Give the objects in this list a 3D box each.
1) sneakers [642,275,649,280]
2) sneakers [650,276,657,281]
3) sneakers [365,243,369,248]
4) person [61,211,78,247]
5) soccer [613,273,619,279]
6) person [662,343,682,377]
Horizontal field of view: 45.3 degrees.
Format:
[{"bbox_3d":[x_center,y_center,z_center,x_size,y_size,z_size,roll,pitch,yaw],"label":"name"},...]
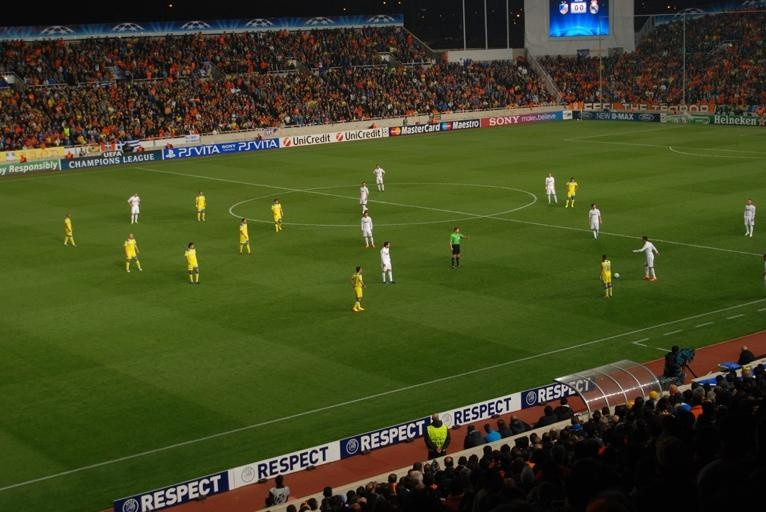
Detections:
[{"bbox_3d":[11.478,0.905,40.158,0.109,0.186,0.225,-18,33,-22],"label":"sneakers"},{"bbox_3d":[11.672,0.917,39.856,0.254,0.213,0.401,2,15,14],"label":"sneakers"},{"bbox_3d":[-0.780,-0.550,45.560,0.253,0.105,0.530,-4,15,-8],"label":"sneakers"},{"bbox_3d":[-16.805,-1.400,49.210,0.933,2.063,1.014,-15,37,-37],"label":"person"},{"bbox_3d":[10.211,0.845,40.256,0.236,0.130,0.228,2,12,13],"label":"soccer"},{"bbox_3d":[9.325,3.490,29.735,0.553,1.434,0.435,4,45,17],"label":"person"}]
